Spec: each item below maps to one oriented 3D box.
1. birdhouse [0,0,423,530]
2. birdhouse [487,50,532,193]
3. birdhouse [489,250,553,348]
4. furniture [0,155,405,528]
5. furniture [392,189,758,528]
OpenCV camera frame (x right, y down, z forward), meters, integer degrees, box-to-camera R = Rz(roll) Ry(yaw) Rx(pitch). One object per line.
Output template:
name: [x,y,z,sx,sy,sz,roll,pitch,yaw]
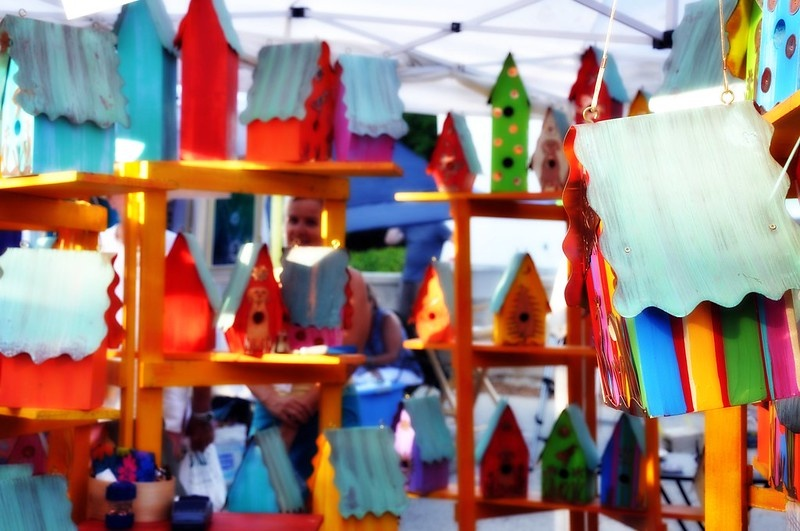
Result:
birdhouse: [-0.544,-0.001,6.746,1.569,1.665,1.678,1,88,5]
birdhouse: [0.442,-0.563,6.906,0.187,0.382,0.443,6,45,-4]
birdhouse: [0.489,0.140,6.977,0.300,0.329,0.544,2,82,-9]
furniture: [-0.986,0.151,6.556,1.271,1.417,1.483,3,87,-30]
furniture: [0.657,0.395,6.621,1.432,0.487,1.383,-1,86,-1]
